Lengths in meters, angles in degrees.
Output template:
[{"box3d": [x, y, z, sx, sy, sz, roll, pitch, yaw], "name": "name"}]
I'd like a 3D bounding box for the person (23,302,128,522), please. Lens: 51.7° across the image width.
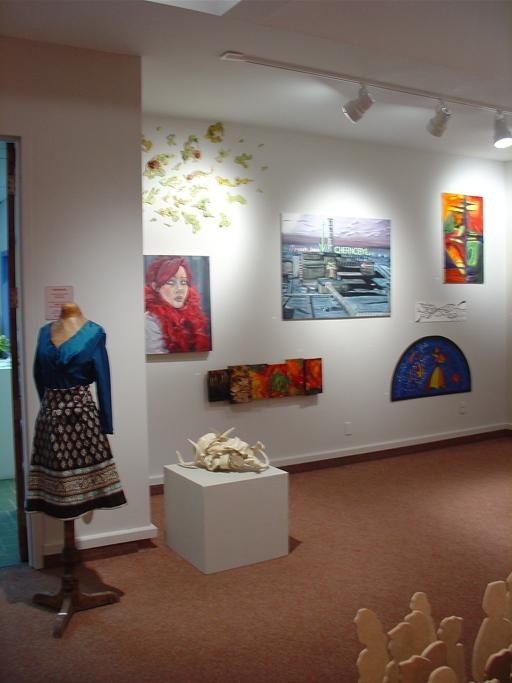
[{"box3d": [-0.834, 0.298, 2.324, 0.411, 0.918, 0.206, -6, -3, -10], "name": "person"}]
